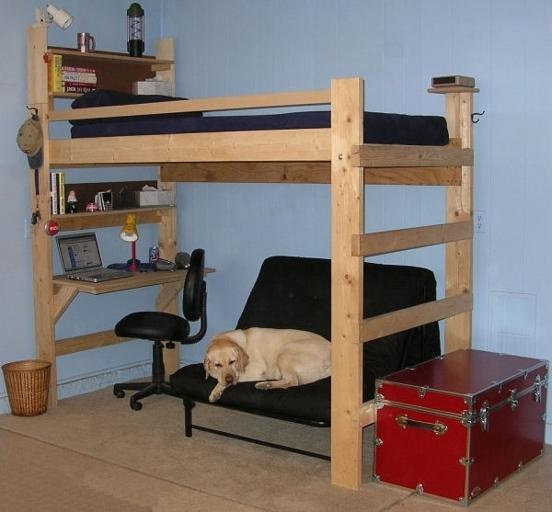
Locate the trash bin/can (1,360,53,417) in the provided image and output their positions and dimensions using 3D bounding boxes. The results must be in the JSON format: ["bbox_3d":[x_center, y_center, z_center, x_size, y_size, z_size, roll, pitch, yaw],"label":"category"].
[{"bbox_3d":[-1.634,0.853,4.156,0.337,0.340,0.323,2,3,28],"label":"trash bin/can"}]

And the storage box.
[{"bbox_3d":[0.855,0.816,3.138,0.546,0.439,0.866,5,9,40],"label":"storage box"}]

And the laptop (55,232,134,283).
[{"bbox_3d":[-1.275,0.017,4.416,0.403,0.286,0.378,7,9,28],"label":"laptop"}]

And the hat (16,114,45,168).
[{"bbox_3d":[-1.619,-0.751,4.203,0.213,0.318,0.089,-9,0,21],"label":"hat"}]

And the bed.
[{"bbox_3d":[-0.205,-0.100,4.098,2.534,2.331,1.651,4,6,26],"label":"bed"}]

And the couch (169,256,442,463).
[{"bbox_3d":[0.149,0.628,3.763,1.380,0.958,1.367,2,11,22],"label":"couch"}]

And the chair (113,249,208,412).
[{"bbox_3d":[-0.789,0.476,4.394,0.636,1.011,0.609,2,3,-3],"label":"chair"}]

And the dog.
[{"bbox_3d":[-0.049,0.565,3.513,0.506,0.185,0.392,-5,4,-23],"label":"dog"}]
